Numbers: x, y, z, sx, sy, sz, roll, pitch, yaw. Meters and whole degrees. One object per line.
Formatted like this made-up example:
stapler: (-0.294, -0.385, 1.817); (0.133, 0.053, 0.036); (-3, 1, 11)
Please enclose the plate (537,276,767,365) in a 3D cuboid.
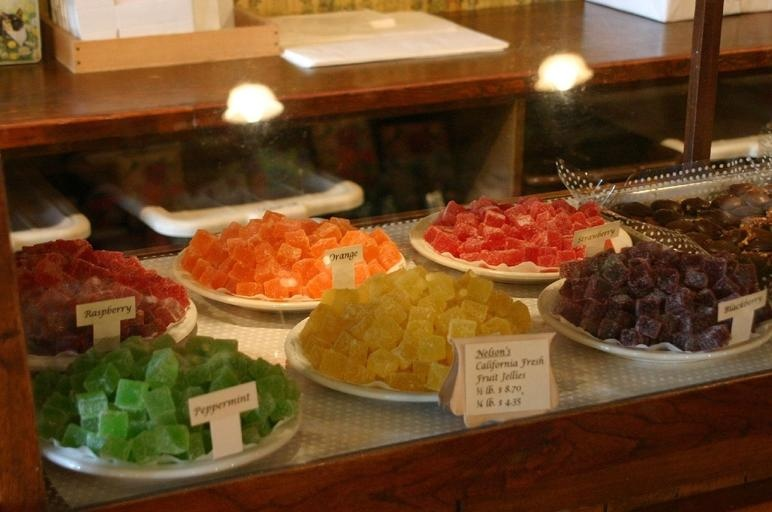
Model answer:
plate: (0.484, 0.149, 1.226); (0.263, 0.031, 0.241); (1, 15, 6)
